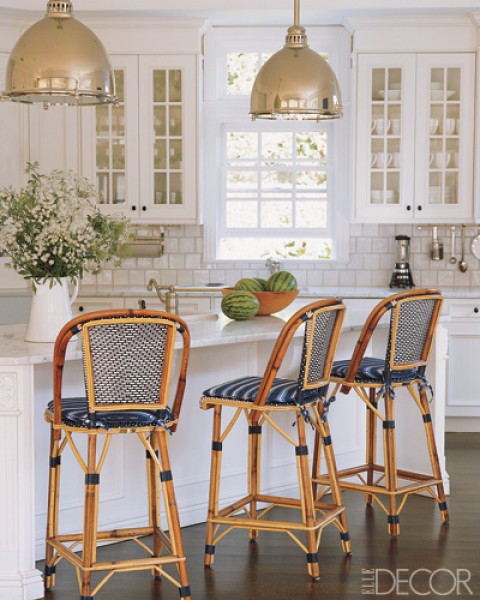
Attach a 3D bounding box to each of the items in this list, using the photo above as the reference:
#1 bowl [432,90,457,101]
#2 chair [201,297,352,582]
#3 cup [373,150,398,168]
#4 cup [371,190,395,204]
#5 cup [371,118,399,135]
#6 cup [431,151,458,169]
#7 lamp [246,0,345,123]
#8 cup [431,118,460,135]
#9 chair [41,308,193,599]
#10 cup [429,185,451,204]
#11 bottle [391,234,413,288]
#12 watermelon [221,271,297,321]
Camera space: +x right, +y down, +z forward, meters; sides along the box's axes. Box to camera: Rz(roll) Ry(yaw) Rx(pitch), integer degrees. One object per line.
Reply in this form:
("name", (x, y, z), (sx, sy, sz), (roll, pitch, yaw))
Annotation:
("bowl", (1.308, -1.328, 5.497), (0.092, 0.031, 0.090), (-2, 5, 0))
("chair", (0.151, 0.484, 3.338), (0.586, 1.039, 0.786), (1, 6, 7))
("cup", (0.957, -0.915, 5.534), (0.155, 0.096, 0.093), (4, 5, 19))
("cup", (0.931, -0.674, 5.551), (0.117, 0.079, 0.101), (3, 5, 17))
("cup", (0.946, -1.129, 5.519), (0.160, 0.104, 0.100), (2, 3, 10))
("cup", (1.329, -0.907, 5.529), (0.146, 0.098, 0.116), (2, 2, 21))
("lamp", (0.228, -0.963, 3.327), (0.351, 0.498, 0.380), (1, 6, 6))
("cup", (1.329, -1.133, 5.514), (0.140, 0.087, 0.115), (7, 13, 20))
("chair", (-0.424, 0.520, 2.934), (0.509, 1.038, 0.597), (-1, 6, -10))
("cup", (1.307, -0.684, 5.497), (0.123, 0.081, 0.117), (0, 1, 0))
("bottle", (1.115, -0.263, 5.813), (0.158, 0.359, 0.350), (2, 6, 11))
("watermelon", (0.086, -0.021, 3.923), (0.264, 0.148, 0.281), (-8, 0, -39))
